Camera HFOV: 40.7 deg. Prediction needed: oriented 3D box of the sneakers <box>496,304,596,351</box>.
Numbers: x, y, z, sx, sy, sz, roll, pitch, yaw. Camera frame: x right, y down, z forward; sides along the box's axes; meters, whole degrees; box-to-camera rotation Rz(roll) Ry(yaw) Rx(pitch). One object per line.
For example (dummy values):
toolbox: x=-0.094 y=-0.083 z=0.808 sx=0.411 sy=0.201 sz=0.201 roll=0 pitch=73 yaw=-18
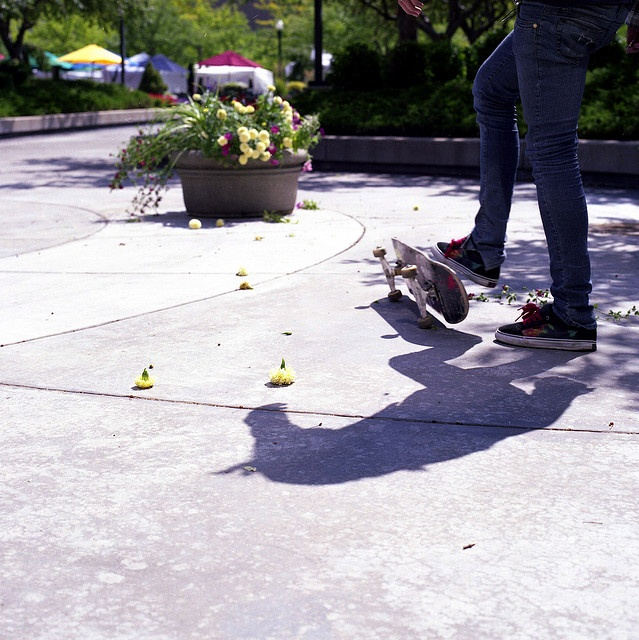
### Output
sneakers: x=1.081 y=0.032 z=4.305 sx=0.617 sy=0.164 sz=0.174 roll=4 pitch=14 yaw=-19
